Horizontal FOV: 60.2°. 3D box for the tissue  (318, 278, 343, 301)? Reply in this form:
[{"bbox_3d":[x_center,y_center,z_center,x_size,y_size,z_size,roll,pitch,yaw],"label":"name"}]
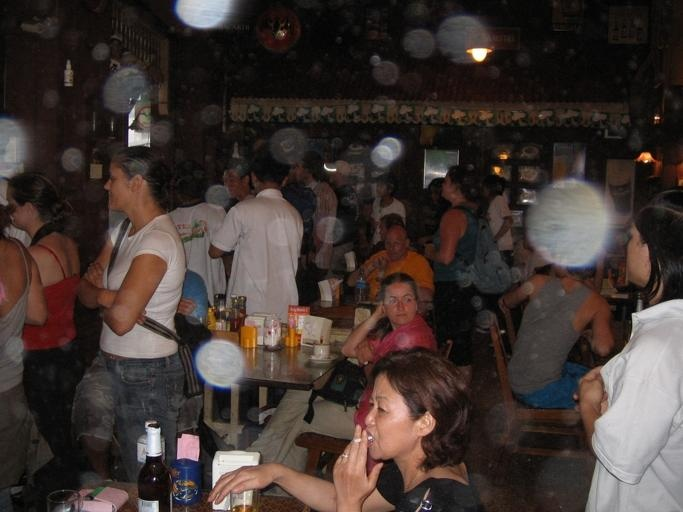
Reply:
[{"bbox_3d":[-0.103,0.336,5.698,0.225,0.166,0.197,-13,37,-22],"label":"tissue "}]

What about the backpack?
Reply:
[{"bbox_3d":[1.112,-0.078,4.849,0.386,0.680,0.442,0,21,-3],"label":"backpack"}]

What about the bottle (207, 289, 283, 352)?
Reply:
[{"bbox_3d":[-0.653,0.481,4.309,0.334,0.318,0.344,2,6,24],"label":"bottle"}]

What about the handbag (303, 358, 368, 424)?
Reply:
[{"bbox_3d":[-0.015,0.896,3.920,0.338,0.433,0.175,0,-36,38],"label":"handbag"}]

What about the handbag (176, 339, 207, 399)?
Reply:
[{"bbox_3d":[-0.846,0.641,3.324,0.065,0.268,0.204,-3,-6,28],"label":"handbag"}]

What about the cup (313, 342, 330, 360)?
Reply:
[{"bbox_3d":[-0.137,0.651,4.054,0.098,0.096,0.101,1,-3,0],"label":"cup"}]
